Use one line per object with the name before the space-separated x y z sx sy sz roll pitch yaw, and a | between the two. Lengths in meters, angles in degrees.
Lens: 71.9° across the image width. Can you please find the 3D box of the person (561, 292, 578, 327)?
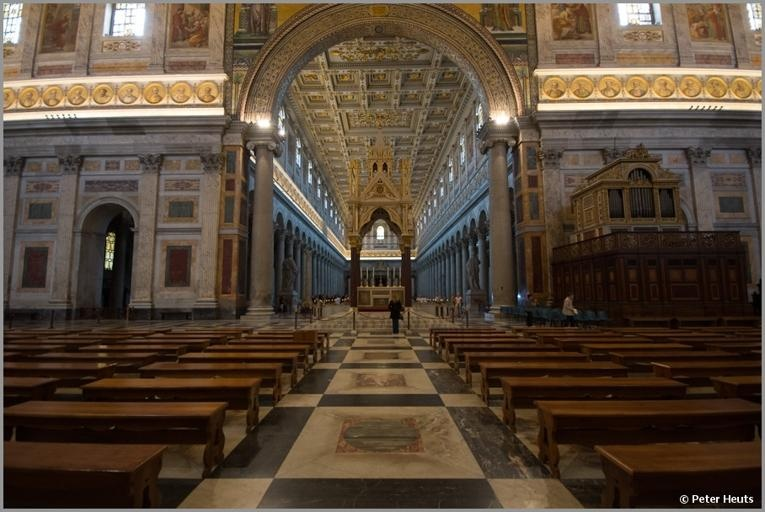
person | 6.482 1.912 18.416 0.504 1.037 1.002 -3 -7 19
